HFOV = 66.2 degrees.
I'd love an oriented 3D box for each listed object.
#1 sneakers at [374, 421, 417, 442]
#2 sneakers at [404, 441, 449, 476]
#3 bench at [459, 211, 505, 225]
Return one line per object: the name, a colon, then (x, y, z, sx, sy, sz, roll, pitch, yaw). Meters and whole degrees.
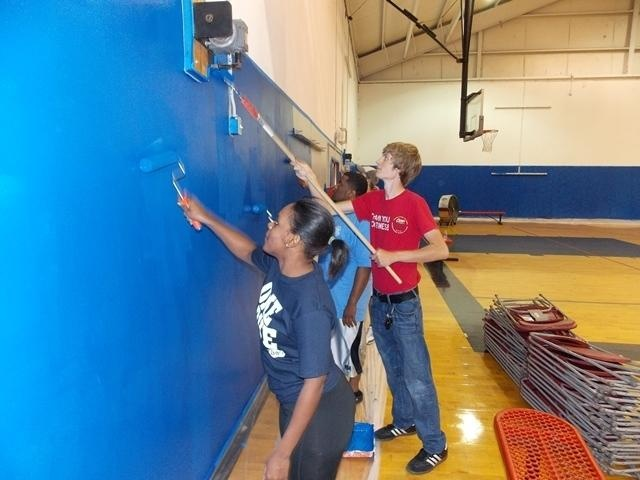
sneakers: (0.428, 1.100, 2.876, 0.258, 0.116, 0.095, 0, 4, -12)
sneakers: (0.564, 1.143, 2.597, 0.213, 0.104, 0.095, -20, 15, -20)
bench: (4.464, -0.701, 13.589, 1.218, 0.468, 1.342, 1, 16, 18)
